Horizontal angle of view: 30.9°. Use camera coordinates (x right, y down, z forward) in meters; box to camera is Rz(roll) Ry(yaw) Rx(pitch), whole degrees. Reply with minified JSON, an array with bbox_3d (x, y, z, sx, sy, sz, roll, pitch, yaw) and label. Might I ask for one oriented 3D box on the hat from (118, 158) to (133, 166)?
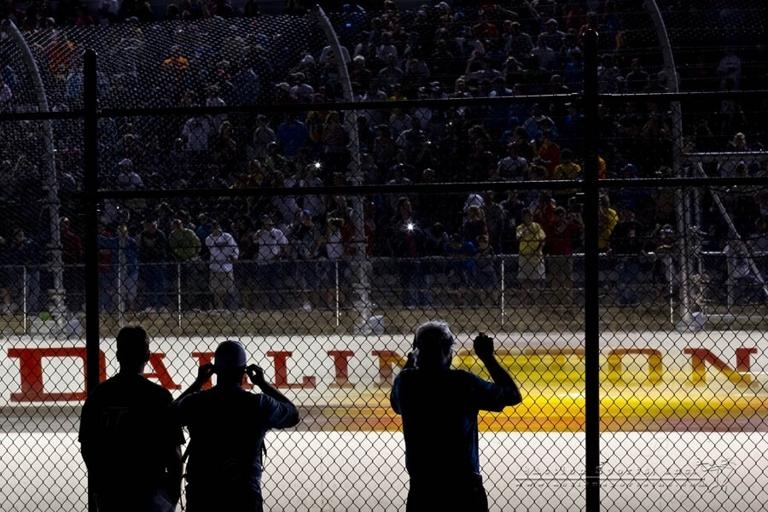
[{"bbox_3d":[-2.782,-0.984,14.933,0.145,0.110,0.048,-2,0,-8],"label":"hat"}]
